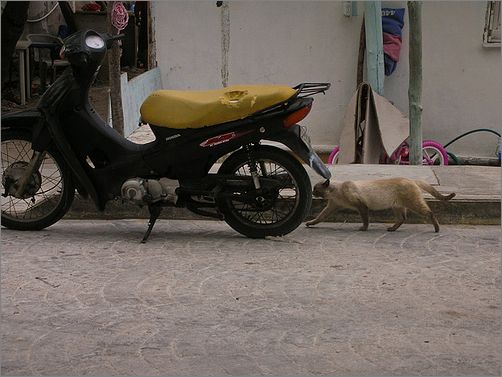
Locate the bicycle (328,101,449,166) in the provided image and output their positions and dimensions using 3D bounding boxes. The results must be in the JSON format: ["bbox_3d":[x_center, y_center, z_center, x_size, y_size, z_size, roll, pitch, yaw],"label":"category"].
[{"bbox_3d":[2.543,-0.776,11.719,1.860,0.845,0.769,1,6,3],"label":"bicycle"}]
